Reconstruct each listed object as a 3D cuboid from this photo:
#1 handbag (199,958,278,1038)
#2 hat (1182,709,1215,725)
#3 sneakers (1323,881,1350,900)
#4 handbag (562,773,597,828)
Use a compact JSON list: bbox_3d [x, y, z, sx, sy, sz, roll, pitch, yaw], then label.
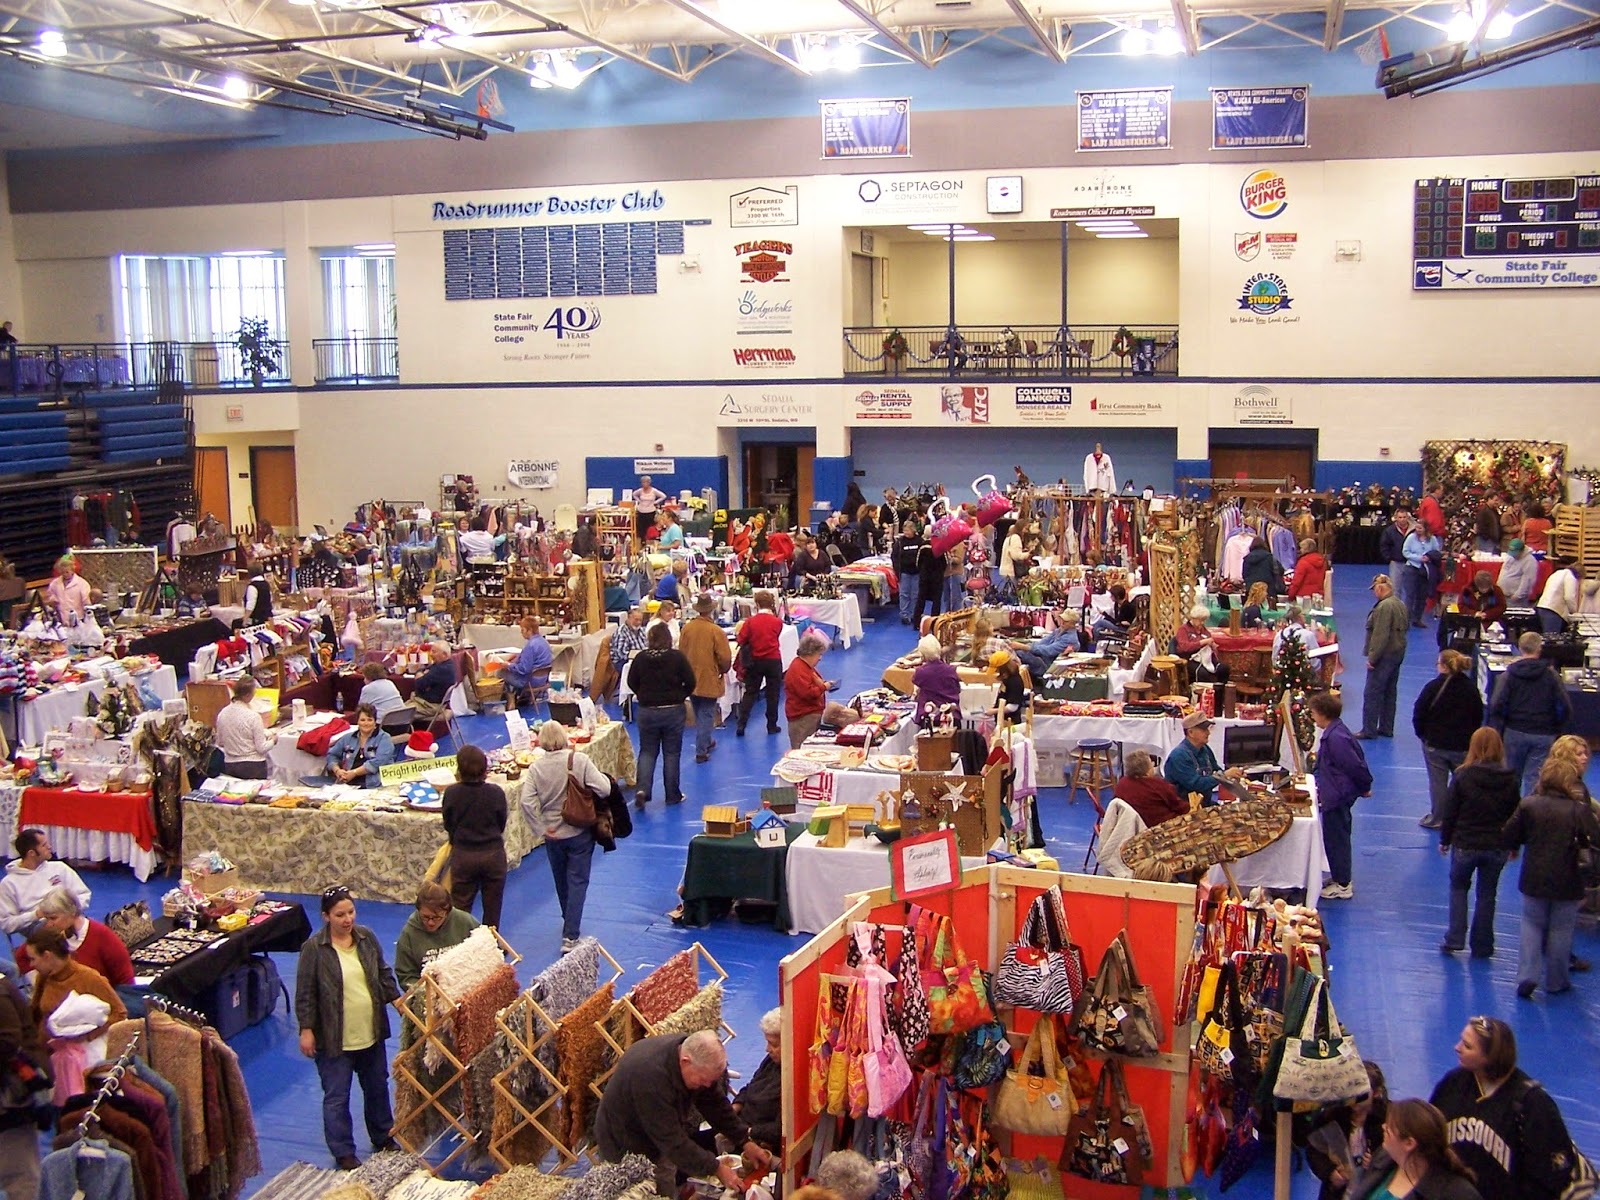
[{"bbox_3d":[-3.716,2.704,9.187,0.383,0.428,0.600,-8,-22,-3],"label":"handbag"},{"bbox_3d":[2.926,0.880,9.863,0.160,0.069,0.221,-2,-5,7],"label":"hat"},{"bbox_3d":[4.122,2.238,10.250,0.104,0.103,0.224,-6,1,-44],"label":"sneakers"},{"bbox_3d":[-1.572,1.406,9.409,0.126,0.433,0.324,-17,-14,41],"label":"handbag"}]
